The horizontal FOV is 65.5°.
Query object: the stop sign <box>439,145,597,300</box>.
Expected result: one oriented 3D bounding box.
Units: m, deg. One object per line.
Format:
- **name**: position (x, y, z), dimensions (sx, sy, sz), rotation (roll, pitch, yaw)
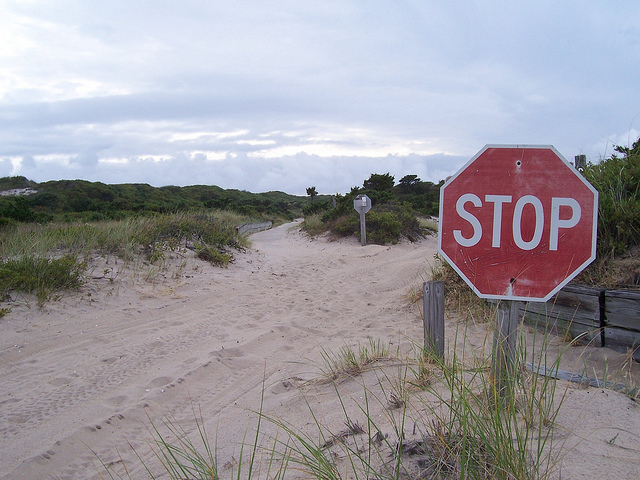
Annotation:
- **stop sign**: position (1.363, -0.118, 3.432), dimensions (1.288, 1.388, 0.048), rotation (0, 2, 12)
